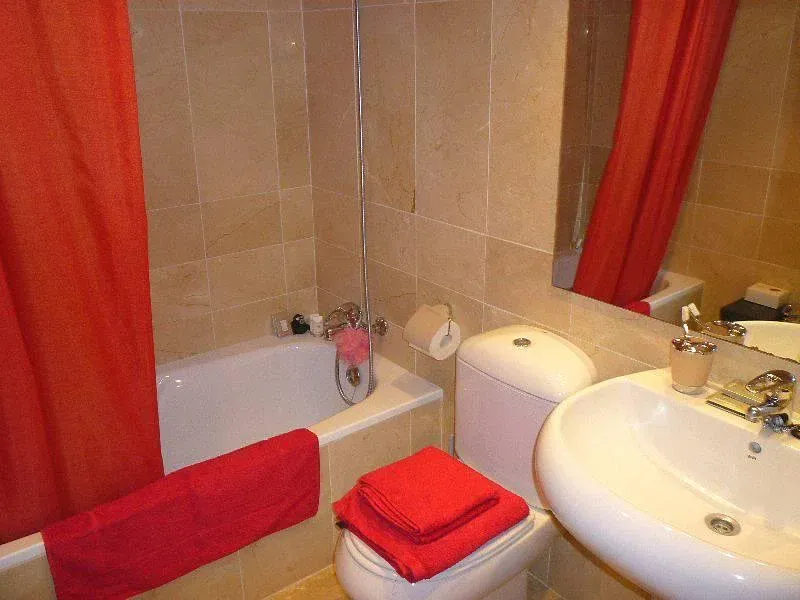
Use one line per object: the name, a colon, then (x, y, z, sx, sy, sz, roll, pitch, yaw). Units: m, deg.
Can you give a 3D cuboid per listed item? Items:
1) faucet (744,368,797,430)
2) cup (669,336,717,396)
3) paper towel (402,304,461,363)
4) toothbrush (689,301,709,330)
faucet: (0.929, 0.247, 1.553, 0.141, 0.176, 0.102, -3, 7, 3)
cup: (0.810, 0.182, 1.710, 0.115, 0.139, 0.115, 0, 18, 0)
paper towel: (0.132, 0.121, 2.408, 0.152, 0.175, 0.204, -16, 23, -25)
toothbrush: (0.842, 0.043, 1.744, 0.041, 0.075, 0.017, -10, 8, 42)
